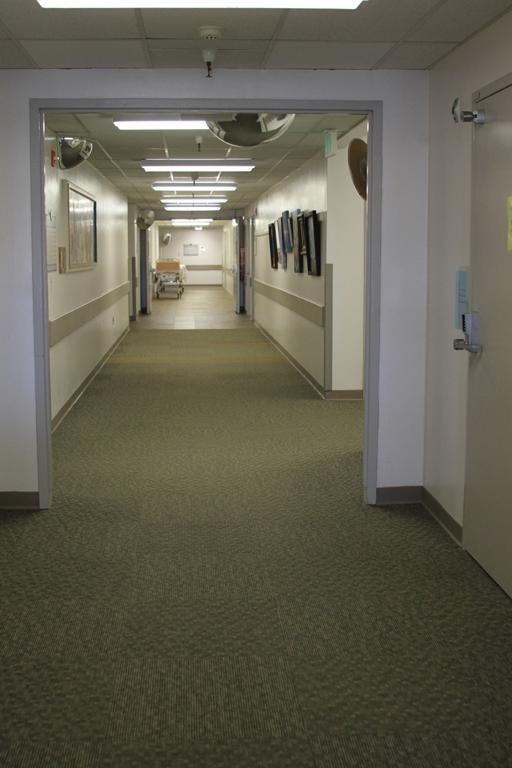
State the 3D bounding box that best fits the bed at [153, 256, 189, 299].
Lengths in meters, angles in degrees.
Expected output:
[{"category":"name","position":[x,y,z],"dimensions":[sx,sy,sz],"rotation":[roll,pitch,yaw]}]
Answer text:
[{"category":"bed","position":[-3.852,-4.798,22.798],"dimensions":[0.890,1.444,2.095],"rotation":[0,11,-3]}]
